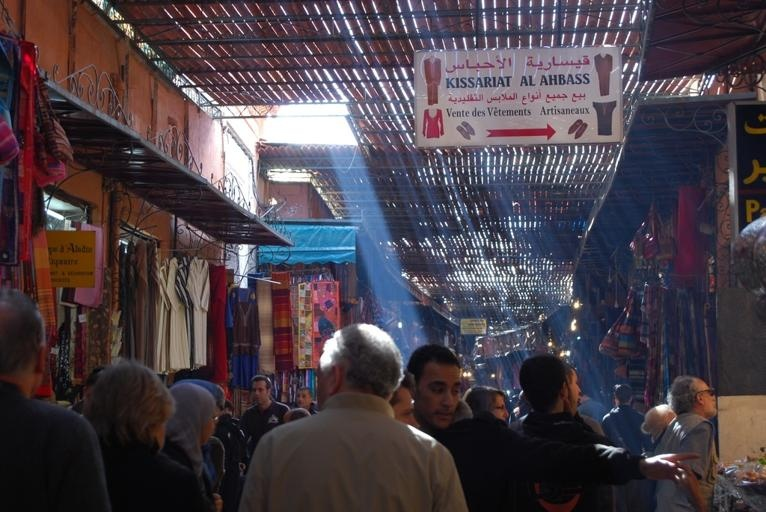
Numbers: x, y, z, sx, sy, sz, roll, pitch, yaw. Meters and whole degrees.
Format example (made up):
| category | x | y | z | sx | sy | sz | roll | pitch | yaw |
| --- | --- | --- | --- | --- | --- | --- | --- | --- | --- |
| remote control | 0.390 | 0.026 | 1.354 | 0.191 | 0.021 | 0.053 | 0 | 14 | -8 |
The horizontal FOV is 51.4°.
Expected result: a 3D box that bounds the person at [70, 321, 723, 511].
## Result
| category | x | y | z | sx | sy | sz | roll | pitch | yaw |
| --- | --- | --- | --- | --- | --- | --- | --- | --- | --- |
| person | 0.444 | 0.977 | 4.722 | 2.396 | 1.070 | 1.086 | 0 | -17 | -12 |
